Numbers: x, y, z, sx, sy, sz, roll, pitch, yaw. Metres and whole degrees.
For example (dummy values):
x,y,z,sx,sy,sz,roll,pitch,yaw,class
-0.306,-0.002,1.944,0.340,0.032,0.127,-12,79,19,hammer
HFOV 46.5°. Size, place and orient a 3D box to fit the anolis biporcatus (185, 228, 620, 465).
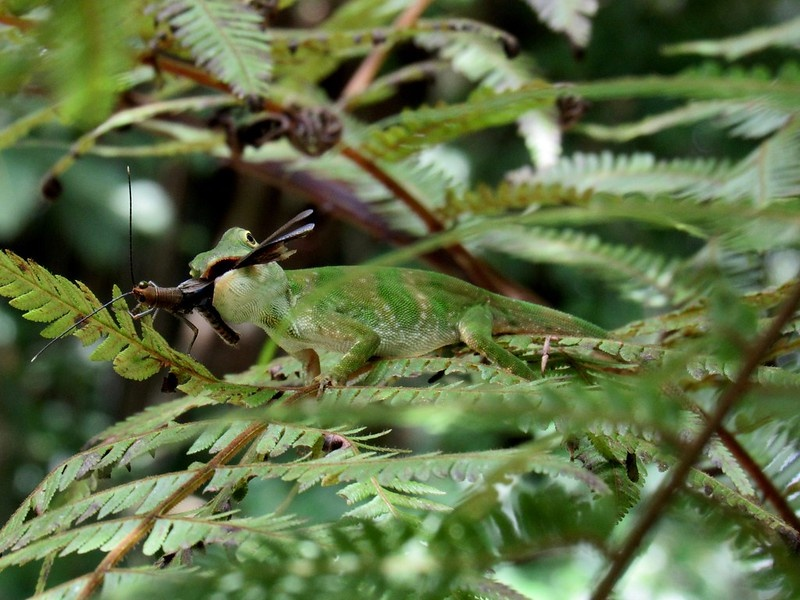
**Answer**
x,y,z,sx,sy,sz,roll,pitch,yaw,class
-0.010,0.089,2.327,1.005,0.271,0.430,0,-25,-8,anolis biporcatus
